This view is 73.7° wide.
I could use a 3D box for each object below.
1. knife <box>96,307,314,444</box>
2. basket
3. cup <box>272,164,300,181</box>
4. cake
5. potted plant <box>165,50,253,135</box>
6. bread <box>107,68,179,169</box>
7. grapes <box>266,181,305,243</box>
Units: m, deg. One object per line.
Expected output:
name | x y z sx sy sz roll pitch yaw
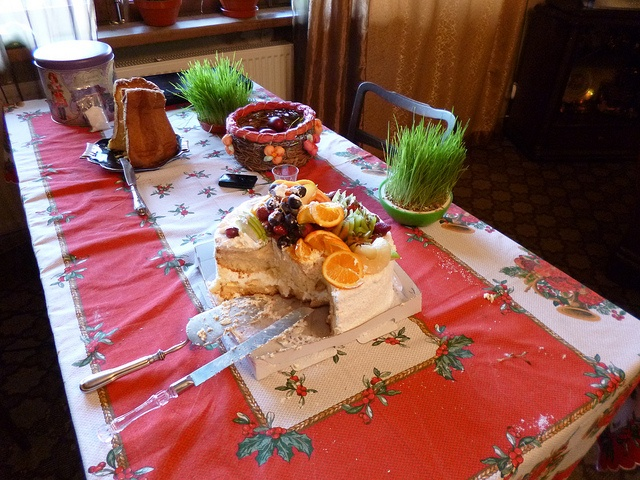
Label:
knife | -0.230 0.292 0.987 0.520 0.044 0.038 -28 87 -22
basket | -0.182 -0.375 1.577 0.299 0.131 0.284 17 41 26
cup | -0.125 -0.235 1.465 0.073 0.055 0.071 2 41 -2
cake | -0.023 -0.009 1.150 0.468 0.279 0.386 11 36 19
potted plant | -0.473 -0.613 1.881 0.347 0.318 0.314 0 19 -6
bread | -0.702 -0.455 1.601 0.264 0.281 0.273 -5 29 -23
grapes | -0.085 -0.064 1.080 0.111 0.063 0.145 -1 51 5
